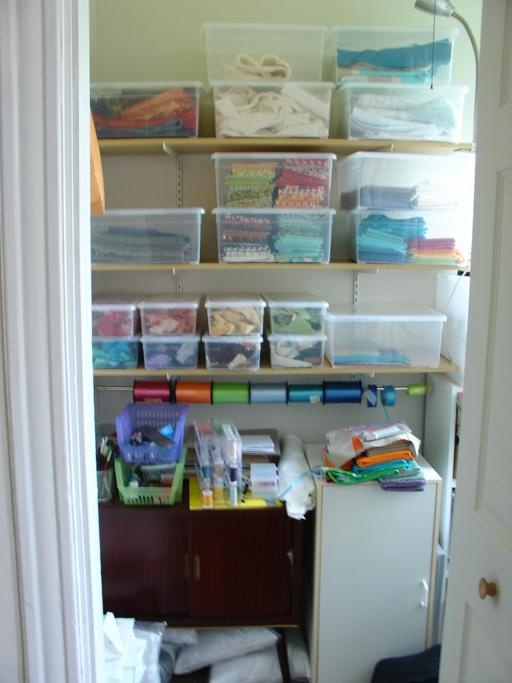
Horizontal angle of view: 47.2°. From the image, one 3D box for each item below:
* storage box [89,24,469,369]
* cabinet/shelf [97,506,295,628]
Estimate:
[{"bbox_3d":[0.077,-0.524,2.012,1.085,1.141,0.393,0,3,1],"label":"storage box"},{"bbox_3d":[-0.222,0.740,1.970,0.548,0.398,0.191,0,2,-3],"label":"cabinet/shelf"}]
